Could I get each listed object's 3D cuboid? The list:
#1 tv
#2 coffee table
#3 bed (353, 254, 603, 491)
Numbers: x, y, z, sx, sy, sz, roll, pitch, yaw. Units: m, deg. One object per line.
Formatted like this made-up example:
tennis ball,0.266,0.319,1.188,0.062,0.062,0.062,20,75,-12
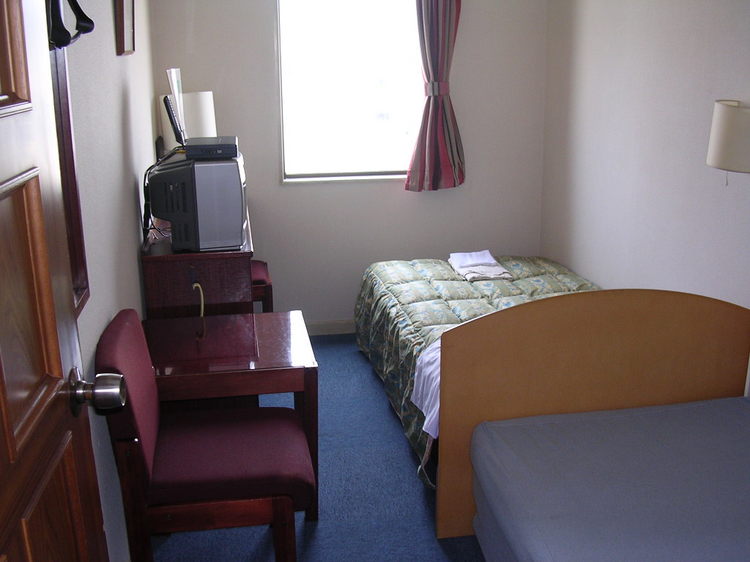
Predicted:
tv,-0.857,-0.348,2.865,0.454,0.401,0.557,-4,3,-24
coffee table,-0.553,0.291,2.326,0.537,0.514,0.631,-3,19,-13
bed,0.572,0.326,3.447,1.189,0.565,1.578,3,16,-11
